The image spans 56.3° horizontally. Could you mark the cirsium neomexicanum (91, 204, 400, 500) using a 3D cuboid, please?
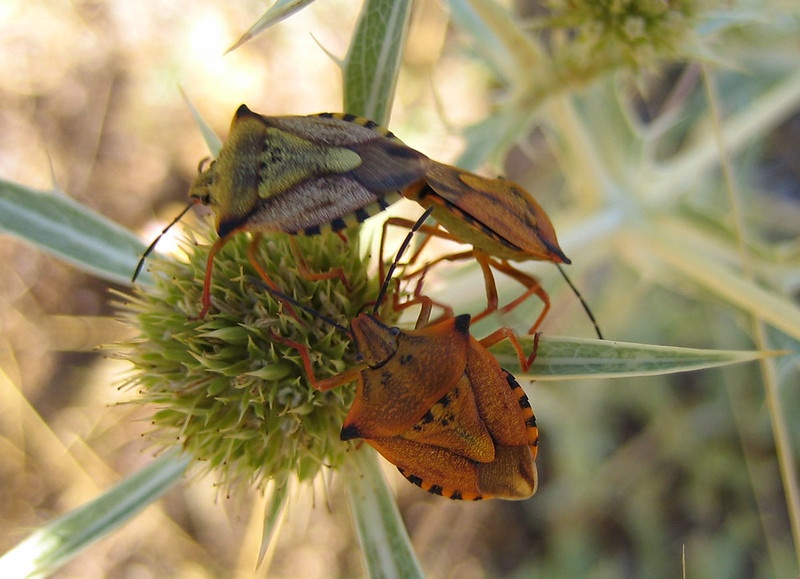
[{"bbox_3d":[-0.698,0.277,3.959,1.274,1.312,0.478,44,9,-2],"label":"cirsium neomexicanum"}]

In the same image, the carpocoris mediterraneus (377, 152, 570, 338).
[{"bbox_3d":[0.275,-0.126,3.109,0.905,0.281,0.614,26,37,-29],"label":"carpocoris mediterraneus"}]

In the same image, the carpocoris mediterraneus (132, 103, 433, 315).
[{"bbox_3d":[-0.393,-0.355,2.862,0.836,0.560,0.263,-5,-34,17],"label":"carpocoris mediterraneus"}]
